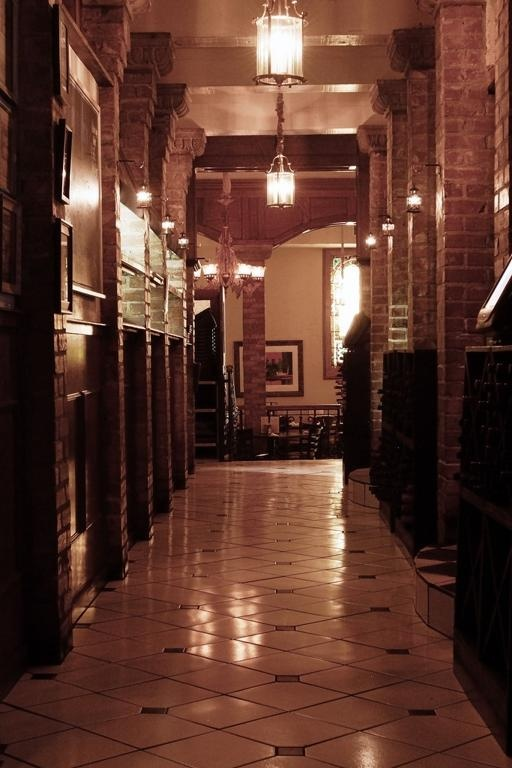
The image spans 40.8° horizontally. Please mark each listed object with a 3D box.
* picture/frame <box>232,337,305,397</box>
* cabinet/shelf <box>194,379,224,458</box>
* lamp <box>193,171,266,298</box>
[{"bbox_3d":[0.301,-0.429,18.083,1.122,1.594,0.106,0,-2,-4],"label":"picture/frame"},{"bbox_3d":[-0.899,0.679,13.122,0.602,1.501,0.431,2,2,3],"label":"cabinet/shelf"},{"bbox_3d":[-0.470,-3.019,13.132,1.247,2.583,3.791,2,3,0],"label":"lamp"}]
